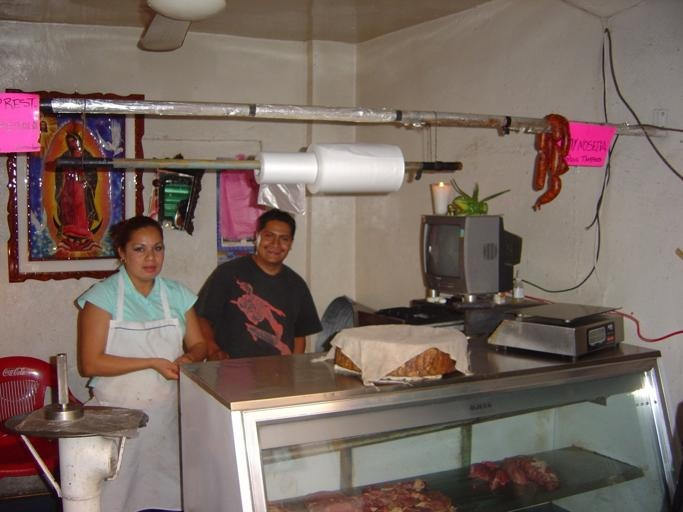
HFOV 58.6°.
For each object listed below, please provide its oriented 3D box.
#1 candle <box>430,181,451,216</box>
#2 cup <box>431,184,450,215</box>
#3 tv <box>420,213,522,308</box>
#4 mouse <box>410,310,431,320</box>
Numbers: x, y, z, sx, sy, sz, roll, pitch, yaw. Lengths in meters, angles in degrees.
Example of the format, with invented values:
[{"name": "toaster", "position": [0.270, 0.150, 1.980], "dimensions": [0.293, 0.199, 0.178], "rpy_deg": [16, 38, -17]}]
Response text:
[{"name": "candle", "position": [0.592, -0.374, 3.873], "dimensions": [0.136, 0.204, 0.138], "rpy_deg": [-8, 18, -43]}, {"name": "cup", "position": [0.626, -0.355, 3.870], "dimensions": [0.129, 0.194, 0.135], "rpy_deg": [-1, -3, 0]}, {"name": "tv", "position": [0.795, 0.011, 3.753], "dimensions": [0.583, 0.489, 0.552], "rpy_deg": [-1, 3, -37]}, {"name": "mouse", "position": [0.468, 0.351, 3.567], "dimensions": [0.083, 0.030, 0.181], "rpy_deg": [5, 11, -5]}]
